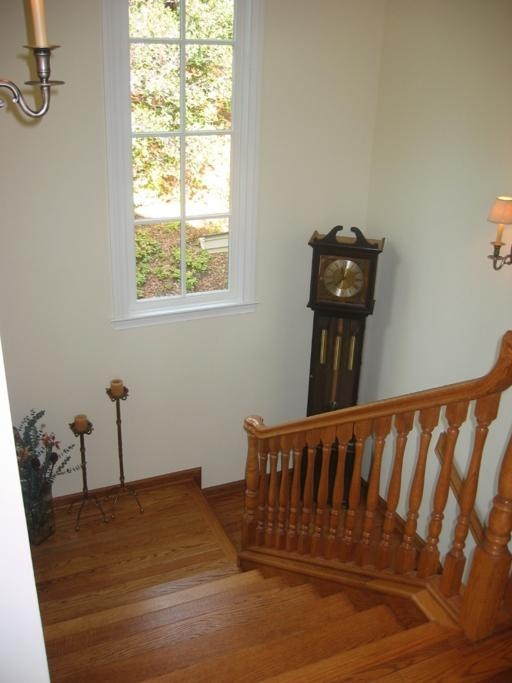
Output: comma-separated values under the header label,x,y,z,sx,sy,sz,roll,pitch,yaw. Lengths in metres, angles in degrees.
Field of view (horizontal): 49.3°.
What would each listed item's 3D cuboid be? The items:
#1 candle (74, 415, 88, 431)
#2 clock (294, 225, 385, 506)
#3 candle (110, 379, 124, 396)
label,x,y,z,sx,sy,sz,roll,pitch,yaw
candle,-1.089,0.507,3.497,0.088,0.097,0.087,11,32,-1
clock,0.546,0.272,4.006,0.482,2.162,0.480,6,14,10
candle,-0.900,0.297,3.596,0.081,0.100,0.105,0,14,-15
